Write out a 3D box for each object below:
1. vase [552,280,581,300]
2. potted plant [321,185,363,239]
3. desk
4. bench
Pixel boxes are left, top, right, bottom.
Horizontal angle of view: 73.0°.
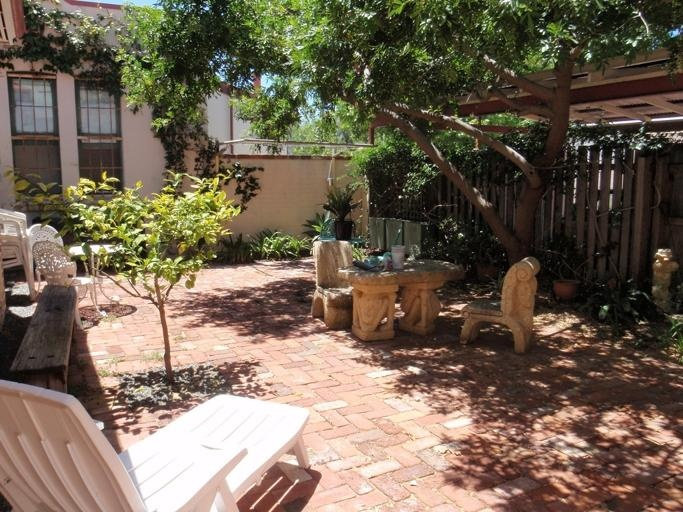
[{"bbox_3d":[3.493,0.534,7.147,0.341,0.218,0.321,3,7,15],"label":"vase"},{"bbox_3d":[0.041,-1.012,11.318,0.952,1.195,0.919,-4,0,30],"label":"potted plant"},{"bbox_3d":[0.713,0.625,6.074,1.709,0.784,0.942,-2,2,-32],"label":"desk"},{"bbox_3d":[-2.719,0.725,4.295,0.423,0.305,1.325,3,27,-24],"label":"bench"}]
